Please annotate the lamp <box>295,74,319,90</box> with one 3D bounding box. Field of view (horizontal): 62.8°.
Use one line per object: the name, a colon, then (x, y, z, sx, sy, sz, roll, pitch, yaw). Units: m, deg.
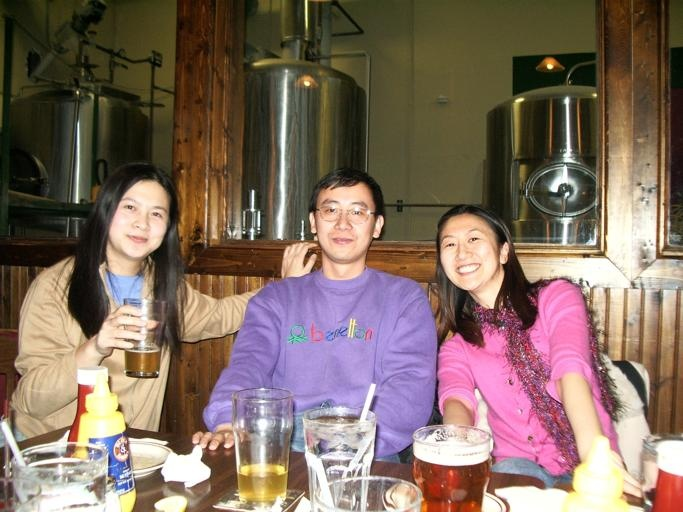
lamp: (-0.222, -1.070, 3.442, 0.132, 0.128, 0.048, 2, -1, -24)
